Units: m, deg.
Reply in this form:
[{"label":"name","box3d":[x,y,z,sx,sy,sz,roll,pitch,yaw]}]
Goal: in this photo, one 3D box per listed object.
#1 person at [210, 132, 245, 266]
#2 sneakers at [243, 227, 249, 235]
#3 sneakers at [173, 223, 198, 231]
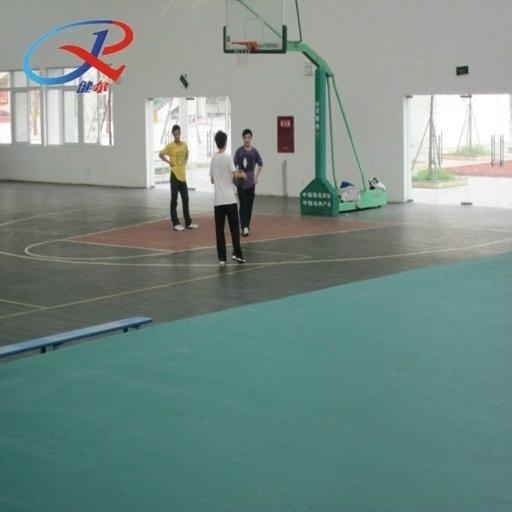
[{"label":"person","box3d":[-0.463,-0.961,7.707,0.547,2.197,0.716,0,5,-7]},{"label":"sneakers","box3d":[-0.217,-0.552,10.192,0.104,0.168,0.348,0,-8,-4]},{"label":"sneakers","box3d":[-1.638,-0.692,11.120,0.536,0.275,0.222,-3,9,-8]}]
